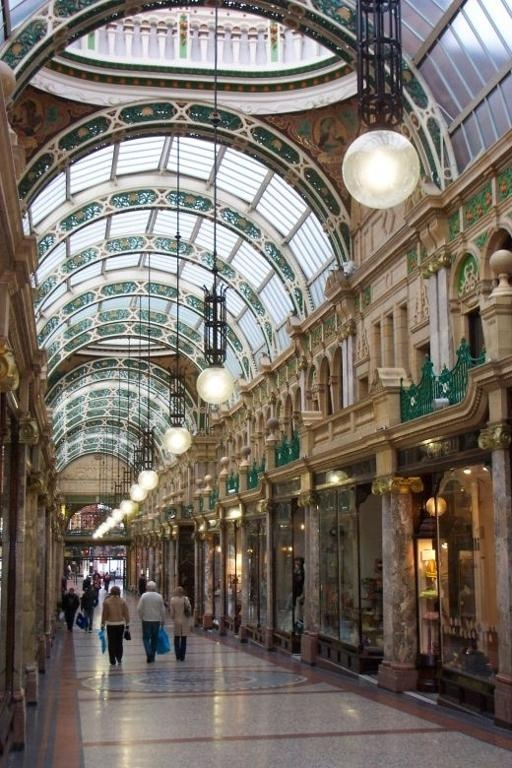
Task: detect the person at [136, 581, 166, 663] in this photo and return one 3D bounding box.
[{"bbox_3d":[-2.317,5.227,15.765,0.538,1.643,2.050,1,-14,-9],"label":"person"}]
